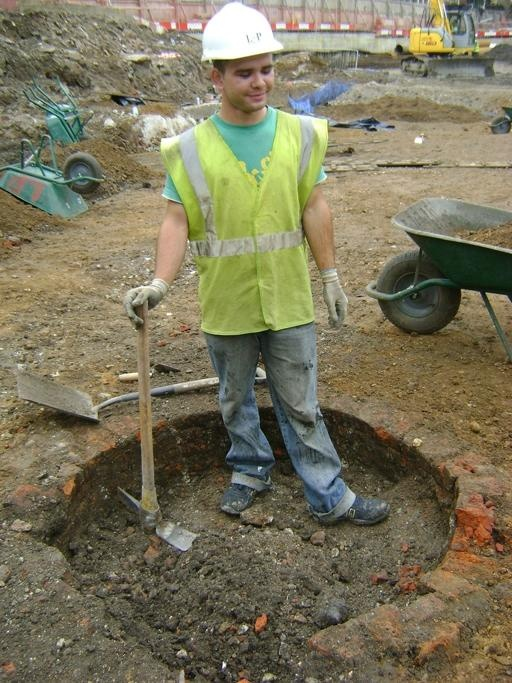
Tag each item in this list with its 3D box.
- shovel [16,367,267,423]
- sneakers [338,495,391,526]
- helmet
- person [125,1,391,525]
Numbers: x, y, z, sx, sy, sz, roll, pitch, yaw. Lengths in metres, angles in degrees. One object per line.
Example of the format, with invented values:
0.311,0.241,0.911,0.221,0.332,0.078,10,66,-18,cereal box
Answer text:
-0.595,0.268,3.532,1.560,0.223,0.512,-3,13,-18,shovel
0.521,0.786,2.838,0.248,0.092,0.112,-2,30,10,sneakers
-0.069,-1.068,2.200,0.277,0.144,0.296,-17,24,-20,helmet
0.051,-0.188,2.559,0.834,2.249,0.371,-5,21,8,person
